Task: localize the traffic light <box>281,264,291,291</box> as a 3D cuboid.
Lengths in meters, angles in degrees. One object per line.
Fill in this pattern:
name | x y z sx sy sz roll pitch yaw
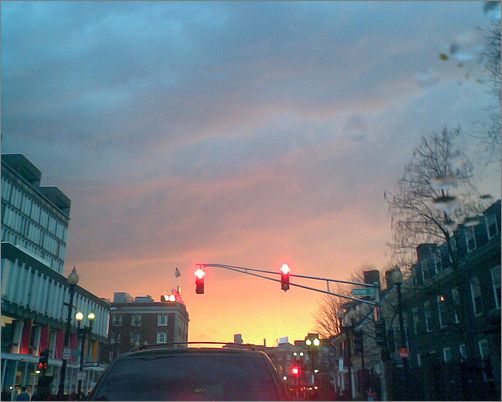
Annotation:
traffic light | 1.651 3.735 23.829 0.391 1.415 1.230 -5 -25 1
